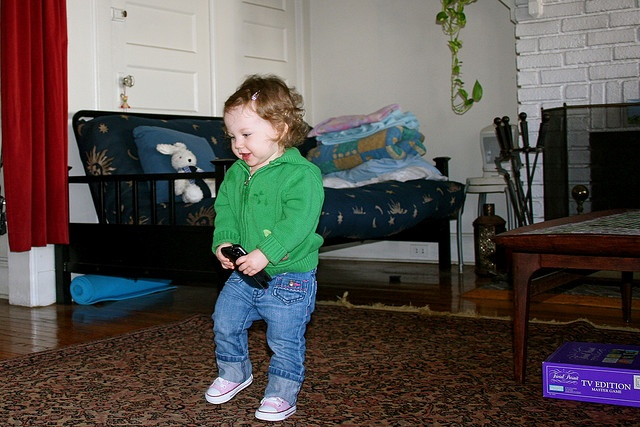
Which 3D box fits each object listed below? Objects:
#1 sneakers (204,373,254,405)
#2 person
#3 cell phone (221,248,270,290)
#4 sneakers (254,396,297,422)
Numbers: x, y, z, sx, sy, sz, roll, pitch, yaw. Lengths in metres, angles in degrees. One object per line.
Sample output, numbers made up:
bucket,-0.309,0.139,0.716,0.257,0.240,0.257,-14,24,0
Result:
sneakers,-0.382,0.644,1.966,0.099,0.068,0.227,-4,0,3
person,-0.233,0.092,1.884,0.519,1.206,0.391,-7,8,-9
cell phone,-0.251,0.187,1.795,0.055,0.186,0.045,-48,0,45
sneakers,-0.158,0.668,1.777,0.065,0.046,0.133,-4,-16,23
